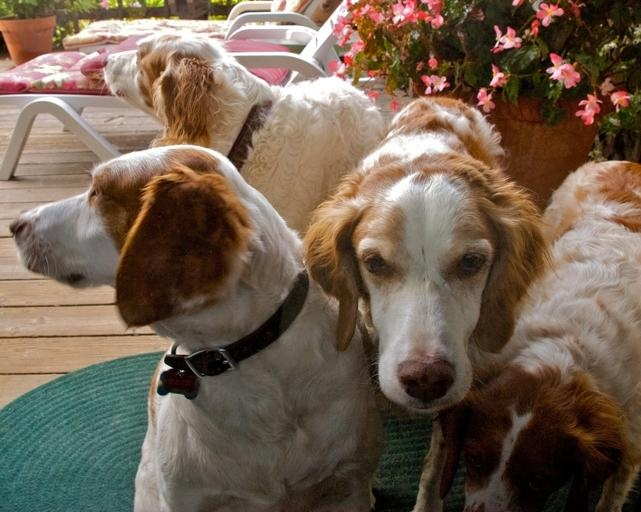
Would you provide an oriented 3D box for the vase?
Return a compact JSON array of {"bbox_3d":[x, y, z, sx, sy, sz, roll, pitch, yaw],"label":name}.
[{"bbox_3d":[0.675,-0.362,2.472,0.408,0.407,0.371,-1,13,-1],"label":"vase"}]

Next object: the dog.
[{"bbox_3d":[0.088,-0.263,2.787,2.089,1.010,0.657,27,20,4],"label":"dog"}]
